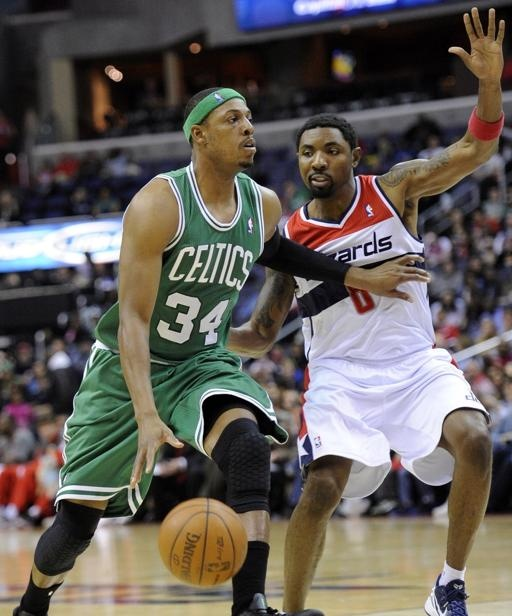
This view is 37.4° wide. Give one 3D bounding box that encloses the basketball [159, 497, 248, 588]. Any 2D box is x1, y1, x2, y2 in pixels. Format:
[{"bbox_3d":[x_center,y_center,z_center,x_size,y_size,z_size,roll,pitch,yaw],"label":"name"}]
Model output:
[{"bbox_3d":[-0.135,0.619,1.993,0.213,0.185,0.133,1,11,1],"label":"basketball"}]
